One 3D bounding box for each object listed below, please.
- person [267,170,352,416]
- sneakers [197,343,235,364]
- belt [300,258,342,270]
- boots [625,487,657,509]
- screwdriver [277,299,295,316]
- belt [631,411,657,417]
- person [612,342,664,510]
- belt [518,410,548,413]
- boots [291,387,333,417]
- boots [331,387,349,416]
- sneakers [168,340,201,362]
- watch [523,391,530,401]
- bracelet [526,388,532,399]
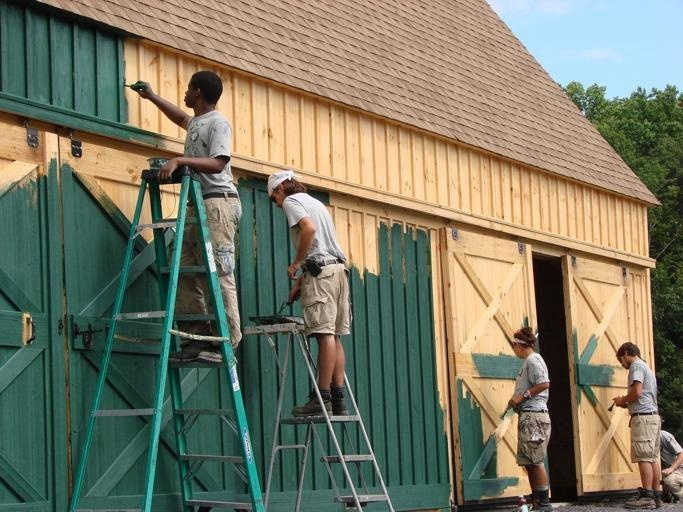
[{"bbox_3d":[-0.272,0.333,14.071,0.764,2.359,0.543,0,-6,-12],"label":"person"},{"bbox_3d":[-1.119,0.922,13.437,0.368,0.168,0.134,9,-50,-23],"label":"sneakers"},{"bbox_3d":[-0.179,0.072,14.067,0.411,0.097,0.126,0,-6,-15],"label":"belt"},{"bbox_3d":[3.467,2.797,16.999,0.430,0.297,0.163,2,-6,6],"label":"boots"},{"bbox_3d":[-0.558,0.514,14.615,0.089,0.223,0.135,31,0,10],"label":"screwdriver"},{"bbox_3d":[3.533,1.843,17.228,0.292,0.043,0.093,-2,-6,6],"label":"belt"},{"bbox_3d":[3.446,1.960,17.234,0.517,1.913,0.648,-2,-6,10],"label":"person"},{"bbox_3d":[2.092,1.702,16.154,0.292,0.036,0.128,-1,-6,-4],"label":"belt"},{"bbox_3d":[-0.244,1.394,13.873,0.458,0.319,0.176,0,-7,17],"label":"boots"},{"bbox_3d":[-0.035,1.364,13.911,0.138,0.277,0.269,-1,-6,0],"label":"boots"},{"bbox_3d":[-1.417,0.863,13.407,0.301,0.197,0.141,-5,-7,28],"label":"sneakers"},{"bbox_3d":[2.014,1.522,16.110,0.057,0.089,0.082,1,-3,28],"label":"watch"},{"bbox_3d":[2.028,1.513,16.099,0.059,0.090,0.082,2,-6,1],"label":"bracelet"}]
